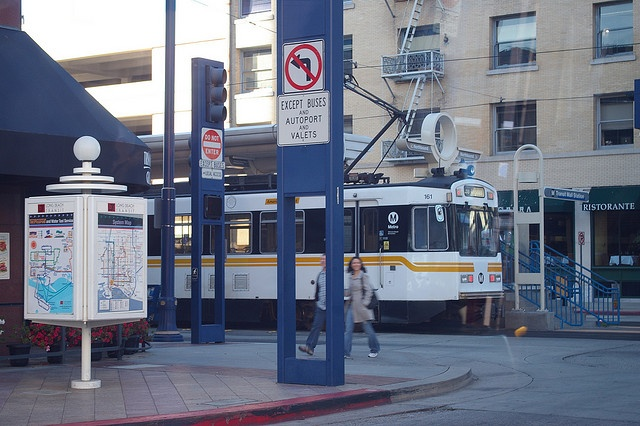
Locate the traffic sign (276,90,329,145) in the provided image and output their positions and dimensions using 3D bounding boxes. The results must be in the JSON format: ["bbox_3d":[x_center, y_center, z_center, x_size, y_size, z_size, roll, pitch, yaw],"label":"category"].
[{"bbox_3d":[-0.333,-1.833,16.044,1.165,1.025,0.117,-9,15,-32],"label":"traffic sign"}]

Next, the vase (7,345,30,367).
[{"bbox_3d":[-6.320,2.939,17.808,0.543,0.530,0.455,3,-12,-28],"label":"vase"}]

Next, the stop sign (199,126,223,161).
[{"bbox_3d":[-3.018,-1.957,23.156,0.059,0.932,0.942,-6,-6,37],"label":"stop sign"}]

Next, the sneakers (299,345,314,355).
[{"bbox_3d":[-0.301,3.034,18.800,0.266,0.244,0.686,-2,-3,2],"label":"sneakers"}]

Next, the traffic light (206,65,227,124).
[{"bbox_3d":[-2.850,-3.303,23.151,0.549,1.610,0.479,-2,-3,6],"label":"traffic light"}]

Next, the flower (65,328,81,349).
[{"bbox_3d":[-5.355,2.705,18.349,0.293,0.472,1.023,-1,-3,-17],"label":"flower"}]

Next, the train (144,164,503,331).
[{"bbox_3d":[-1.599,0.996,28.689,14.761,5.063,4.468,0,-2,32],"label":"train"}]

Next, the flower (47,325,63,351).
[{"bbox_3d":[-5.679,2.664,18.046,0.265,0.519,0.348,0,-3,-25],"label":"flower"}]

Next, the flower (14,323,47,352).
[{"bbox_3d":[-6.041,2.571,17.912,0.623,0.522,0.294,-1,-3,-7],"label":"flower"}]

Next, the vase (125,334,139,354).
[{"bbox_3d":[-4.330,2.999,19.491,0.376,0.355,0.461,-1,-3,10],"label":"vase"}]

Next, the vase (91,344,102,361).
[{"bbox_3d":[-4.868,3.041,18.486,0.367,0.347,0.370,2,-8,-22],"label":"vase"}]

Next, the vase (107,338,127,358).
[{"bbox_3d":[-4.590,3.049,19.104,0.465,0.423,0.471,-2,-5,22],"label":"vase"}]

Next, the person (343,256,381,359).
[{"bbox_3d":[0.909,2.160,19.496,0.733,2.322,1.110,-2,-3,3],"label":"person"}]

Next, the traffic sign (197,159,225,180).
[{"bbox_3d":[-2.971,-1.222,23.195,0.065,0.527,0.876,-4,-4,39],"label":"traffic sign"}]

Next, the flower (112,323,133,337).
[{"bbox_3d":[-4.428,2.609,19.062,0.416,0.326,0.422,-1,-4,23],"label":"flower"}]
